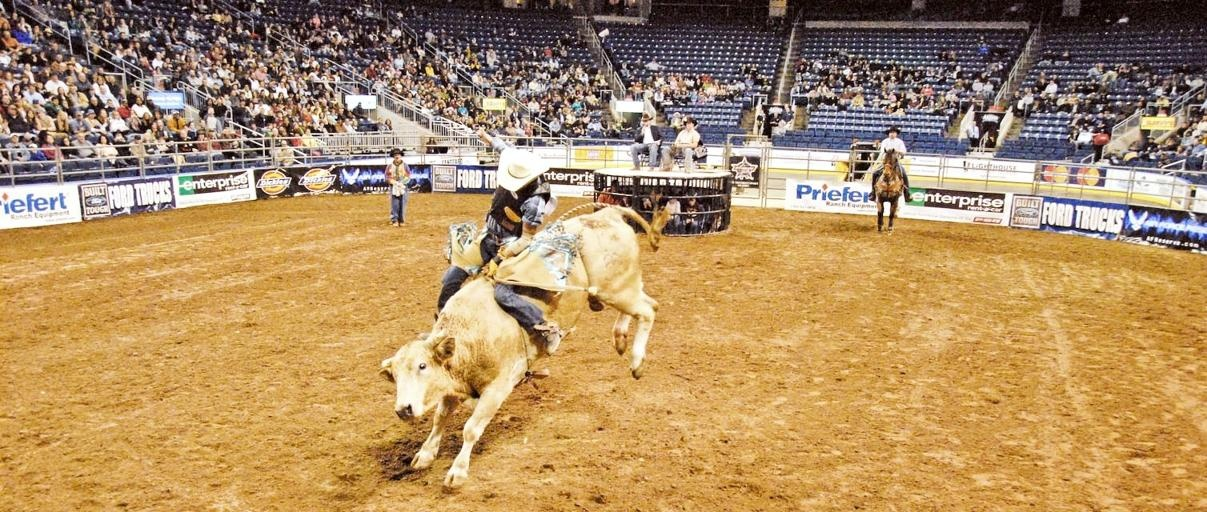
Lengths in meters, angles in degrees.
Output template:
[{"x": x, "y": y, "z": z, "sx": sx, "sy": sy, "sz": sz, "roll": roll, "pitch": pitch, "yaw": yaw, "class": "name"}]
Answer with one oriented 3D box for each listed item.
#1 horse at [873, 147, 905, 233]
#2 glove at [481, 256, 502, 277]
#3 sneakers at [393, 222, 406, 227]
[{"x": 14.347, "y": -3.340, "z": 41.836, "sx": 1.653, "sy": 4.031, "sz": 2.993, "roll": 11, "pitch": 23, "yaw": 24, "class": "horse"}, {"x": -4.021, "y": 0.448, "z": 29.406, "sx": 0.355, "sy": 0.553, "sz": 0.783, "roll": 40, "pitch": -21, "yaw": -25, "class": "glove"}, {"x": -10.165, "y": -1.501, "z": 41.123, "sx": 0.606, "sy": 0.217, "sz": 0.226, "roll": -1, "pitch": 3, "yaw": 26, "class": "sneakers"}]
